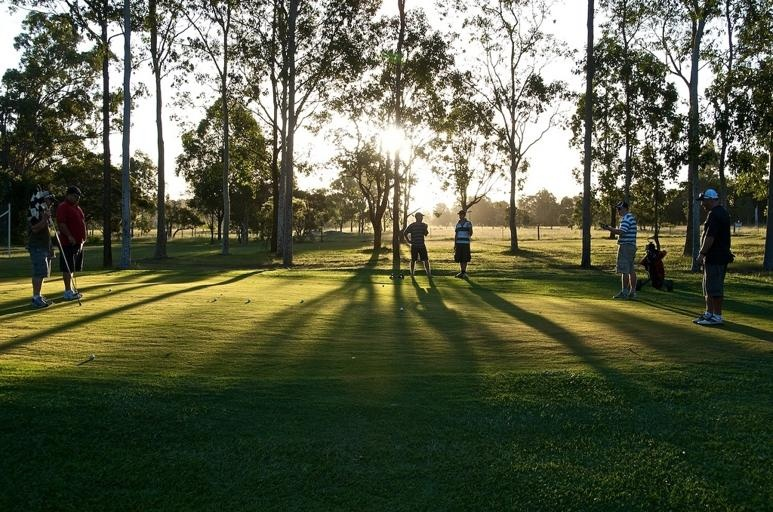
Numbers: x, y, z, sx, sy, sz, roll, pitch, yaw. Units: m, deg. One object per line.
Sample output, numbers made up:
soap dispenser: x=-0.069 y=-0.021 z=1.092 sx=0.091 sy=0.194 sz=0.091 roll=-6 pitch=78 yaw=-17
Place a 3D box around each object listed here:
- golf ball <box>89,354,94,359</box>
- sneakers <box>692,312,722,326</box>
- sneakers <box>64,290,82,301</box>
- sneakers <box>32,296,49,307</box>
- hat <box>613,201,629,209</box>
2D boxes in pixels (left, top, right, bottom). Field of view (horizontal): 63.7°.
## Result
golf ball: x=-4.383 y=1.503 z=9.268 sx=0.041 sy=0.059 sz=0.138 roll=1 pitch=7 yaw=-15
sneakers: x=6.342 y=1.254 z=12.312 sx=0.506 sy=0.255 sz=0.244 roll=1 pitch=0 yaw=6
sneakers: x=-7.187 y=0.909 z=14.287 sx=0.393 sy=0.211 sz=0.151 roll=-1 pitch=18 yaw=-4
sneakers: x=-7.312 y=0.953 z=13.117 sx=0.376 sy=0.193 sz=0.162 roll=9 pitch=5 yaw=20
hat: x=6.075 y=-1.308 z=16.100 sx=0.373 sy=0.255 sz=0.275 roll=9 pitch=8 yaw=18
